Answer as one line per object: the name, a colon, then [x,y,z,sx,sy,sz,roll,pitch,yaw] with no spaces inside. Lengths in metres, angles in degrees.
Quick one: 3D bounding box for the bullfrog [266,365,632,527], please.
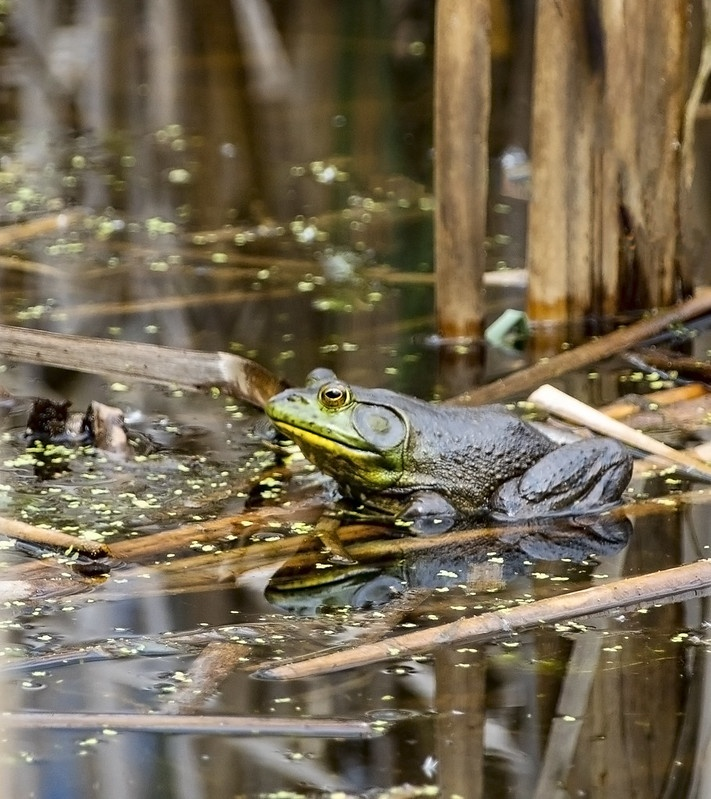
bullfrog: [0.289,0.170,4.617,1.649,0.444,0.873,5,17,-25]
